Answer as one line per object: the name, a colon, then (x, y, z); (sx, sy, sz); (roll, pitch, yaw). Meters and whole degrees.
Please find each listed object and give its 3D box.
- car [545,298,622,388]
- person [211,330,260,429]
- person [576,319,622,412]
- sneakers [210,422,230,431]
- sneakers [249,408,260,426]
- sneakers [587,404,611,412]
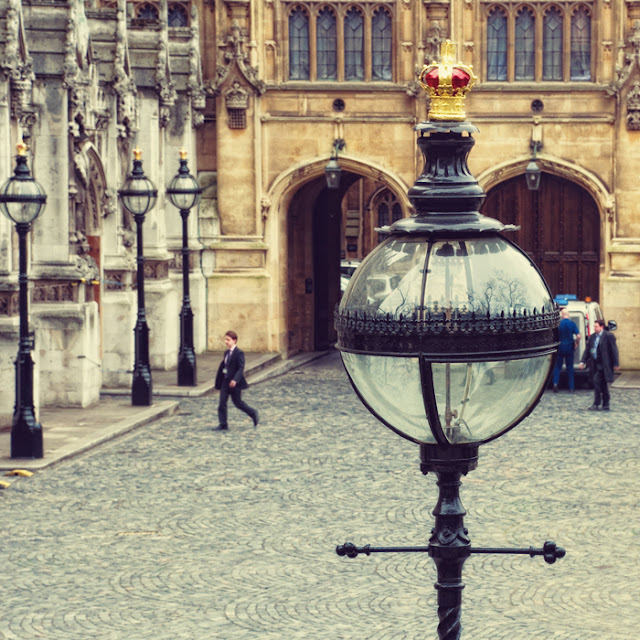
car: (4.090, 0.453, 32.181); (1.522, 1.399, 2.343); (1, 8, 18)
person: (-1.252, 0.855, 26.605); (0.522, 1.371, 1.191); (0, 2, 7)
person: (4.239, 0.696, 28.900); (0.425, 1.346, 1.201); (0, 2, 8)
sneakers: (-1.456, 1.492, 26.554); (0.272, 0.114, 0.092); (5, 2, 33)
sneakers: (-0.978, 1.389, 26.981); (0.110, 0.269, 0.084); (-6, 10, -1)
sneakers: (4.147, 1.343, 28.820); (0.343, 0.145, 0.108); (10, -4, -20)
